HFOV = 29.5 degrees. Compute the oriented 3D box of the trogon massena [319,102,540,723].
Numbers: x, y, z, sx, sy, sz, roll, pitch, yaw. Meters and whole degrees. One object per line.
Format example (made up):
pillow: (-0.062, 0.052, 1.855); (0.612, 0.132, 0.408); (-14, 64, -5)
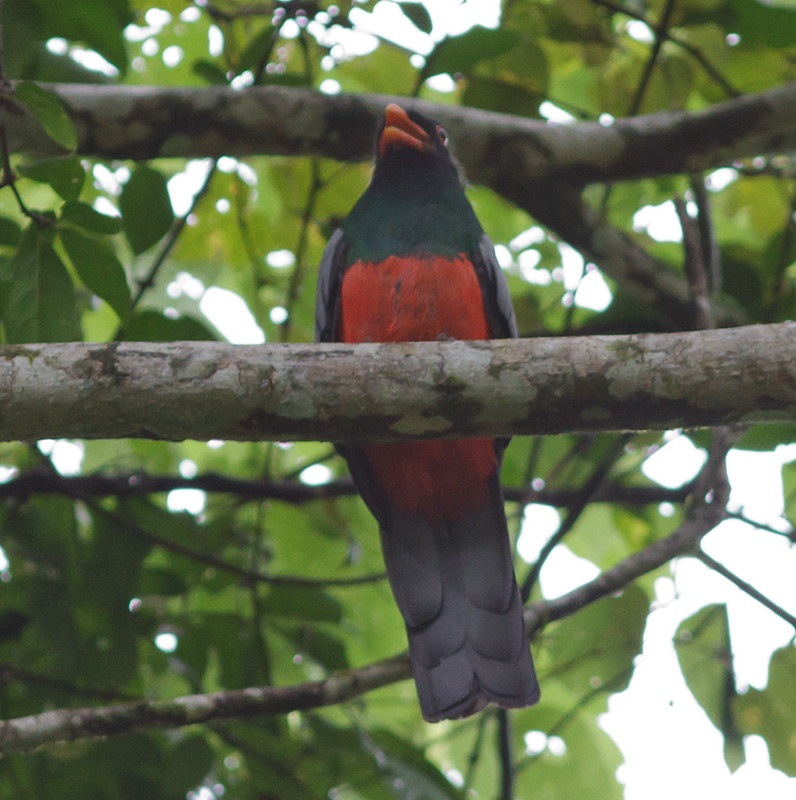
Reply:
trogon massena: (0.113, -0.020, 5.769); (0.800, 0.956, 2.291); (-3, -89, -4)
